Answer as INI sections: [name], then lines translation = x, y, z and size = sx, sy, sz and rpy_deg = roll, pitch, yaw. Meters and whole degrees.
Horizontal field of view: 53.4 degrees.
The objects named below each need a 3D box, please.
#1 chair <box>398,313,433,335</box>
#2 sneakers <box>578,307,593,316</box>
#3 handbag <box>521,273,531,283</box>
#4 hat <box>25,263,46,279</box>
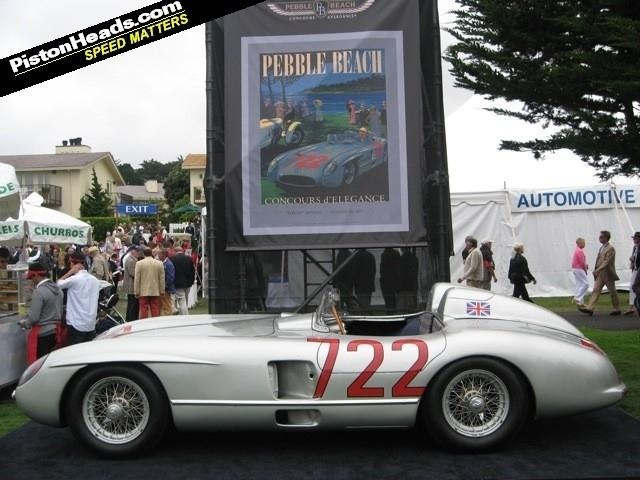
[chair]
translation = 1.077, 0.899, 6.832
size = 0.323, 0.205, 0.100
rpy_deg = -6, -13, 43
[sneakers]
translation = 5.865, 1.563, 14.059
size = 0.280, 0.223, 0.101
rpy_deg = -8, 9, 8
[handbag]
translation = 4.671, 0.836, 14.389
size = 0.252, 0.071, 0.265
rpy_deg = 24, -17, 9
[hat]
translation = -3.861, 0.404, 8.630
size = 0.223, 0.138, 0.154
rpy_deg = 8, 13, 39
